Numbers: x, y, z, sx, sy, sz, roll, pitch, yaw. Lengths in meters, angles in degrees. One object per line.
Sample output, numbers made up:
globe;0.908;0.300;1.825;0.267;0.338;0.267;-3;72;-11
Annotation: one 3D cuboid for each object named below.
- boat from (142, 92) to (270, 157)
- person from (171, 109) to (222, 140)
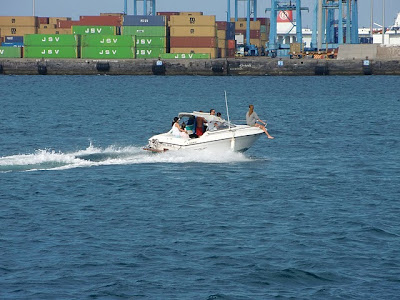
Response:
boat;0.832;-1.094;52.661;7.514;2.716;3.365;-6;12;-30
person;-0.125;-1.429;52.171;2.758;0.768;1.679;-12;18;-39
